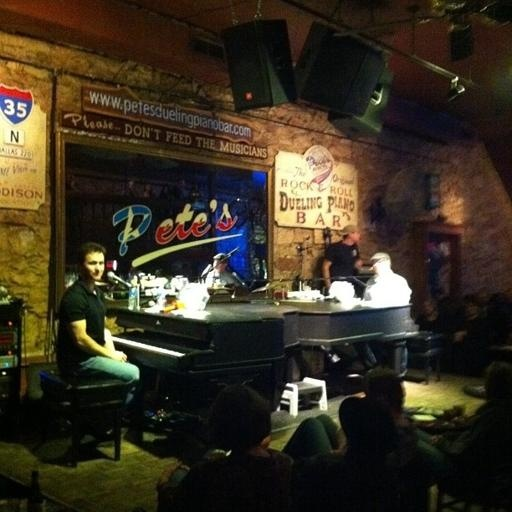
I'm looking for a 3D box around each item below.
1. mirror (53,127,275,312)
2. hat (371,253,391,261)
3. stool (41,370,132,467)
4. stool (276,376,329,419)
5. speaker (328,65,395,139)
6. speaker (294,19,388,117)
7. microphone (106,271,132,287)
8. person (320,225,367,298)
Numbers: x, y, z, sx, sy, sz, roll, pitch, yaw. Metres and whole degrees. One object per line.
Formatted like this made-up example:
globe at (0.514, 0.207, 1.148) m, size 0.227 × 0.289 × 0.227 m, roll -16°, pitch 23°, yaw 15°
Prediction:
mirror at (-1.040, -0.418, 5.889) m, size 2.556 × 1.285 × 0.093 m, roll 1°, pitch -3°, yaw -40°
hat at (1.350, 0.013, 5.845) m, size 0.128 × 0.051 × 0.161 m, roll 3°, pitch 3°, yaw 25°
stool at (-1.282, 1.237, 4.160) m, size 0.607 × 0.727 × 0.965 m, roll 10°, pitch -14°, yaw -36°
stool at (0.387, 1.214, 4.818) m, size 0.479 × 0.290 × 0.333 m, roll 6°, pitch -12°, yaw -39°
speaker at (1.194, -1.797, 6.338) m, size 0.617 × 0.776 × 0.816 m, roll 21°, pitch -21°, yaw 11°
speaker at (0.900, -1.997, 5.694) m, size 1.059 × 0.836 × 0.322 m, roll 21°, pitch 9°, yaw -27°
microphone at (-1.383, 0.241, 5.560) m, size 0.062 × 0.050 × 0.215 m, roll -12°, pitch -38°, yaw 36°
person at (1.211, 0.075, 7.575) m, size 0.602 × 0.797 × 0.674 m, roll 3°, pitch 2°, yaw 9°
